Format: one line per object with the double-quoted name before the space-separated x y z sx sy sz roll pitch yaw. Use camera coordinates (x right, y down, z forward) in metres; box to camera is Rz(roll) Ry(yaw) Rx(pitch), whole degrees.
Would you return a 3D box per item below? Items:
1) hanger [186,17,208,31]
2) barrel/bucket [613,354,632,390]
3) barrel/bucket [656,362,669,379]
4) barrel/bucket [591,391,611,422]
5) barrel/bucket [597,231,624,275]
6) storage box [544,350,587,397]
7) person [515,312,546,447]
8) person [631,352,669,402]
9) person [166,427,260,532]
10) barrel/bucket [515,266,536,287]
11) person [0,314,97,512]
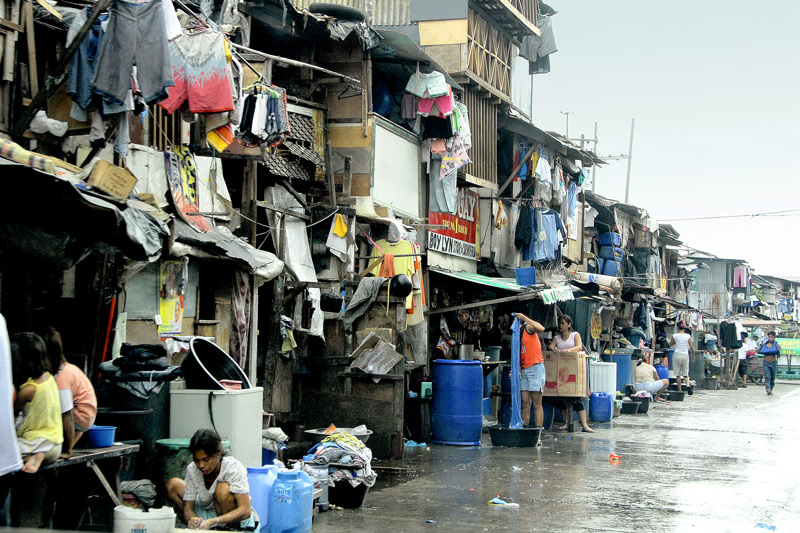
"hanger" -3.034 -3.605 16.544 0.270 0.105 0.217 23 -4 35
"barrel/bucket" 5.992 2.882 30.084 0.423 1.090 1.405 -2 -9 17
"barrel/bucket" 7.958 3.170 33.612 0.463 0.542 0.485 0 -4 0
"barrel/bucket" 4.388 3.160 24.736 0.543 0.631 0.456 4 -5 8
"barrel/bucket" 6.780 -0.413 36.233 0.983 1.852 0.953 6 -34 4
"storage box" 3.404 2.195 22.678 0.821 0.908 0.868 -1 -2 26
"person" 2.471 2.026 20.989 0.447 2.054 1.188 -1 -8 8
"person" 6.816 3.109 30.613 0.955 1.386 1.015 -18 17 -42
"person" -2.197 2.501 13.234 0.985 1.265 1.065 -1 -3 25
"barrel/bucket" 2.643 0.236 23.449 0.392 0.426 0.510 -1 -8 9
"person" -4.049 1.711 12.446 0.735 1.959 0.624 3 -8 -19
